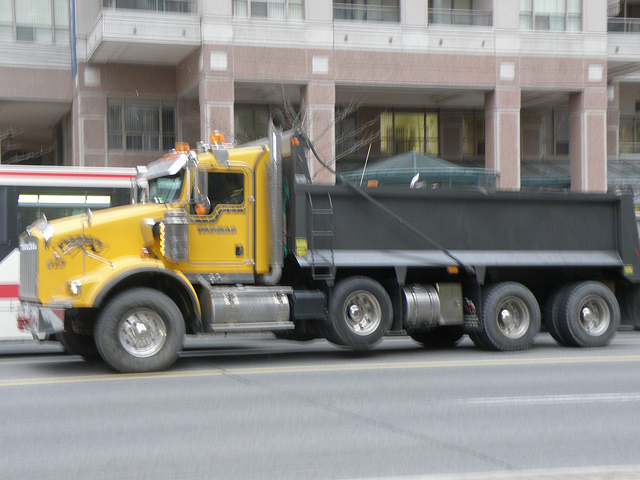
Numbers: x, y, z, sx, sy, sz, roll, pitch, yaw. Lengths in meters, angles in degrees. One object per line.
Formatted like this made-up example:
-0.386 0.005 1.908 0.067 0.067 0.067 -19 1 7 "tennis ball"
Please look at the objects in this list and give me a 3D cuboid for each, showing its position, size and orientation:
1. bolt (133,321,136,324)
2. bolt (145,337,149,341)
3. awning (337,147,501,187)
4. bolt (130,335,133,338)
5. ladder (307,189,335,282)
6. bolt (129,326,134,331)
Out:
-3.309 1.468 16.495 0.045 0.045 0.006 -2 4 -27 "bolt"
-3.115 1.776 16.617 0.056 0.058 0.006 -2 4 -18 "bolt"
4.674 -2.895 37.936 7.764 2.189 4.993 4 6 24 "awning"
-3.369 1.714 16.513 0.044 0.049 0.010 -2 4 -22 "bolt"
0.024 -0.081 17.957 0.516 1.682 0.351 -1 3 -6 "ladder"
-3.363 1.583 16.485 0.066 0.060 0.005 -2 4 -22 "bolt"
